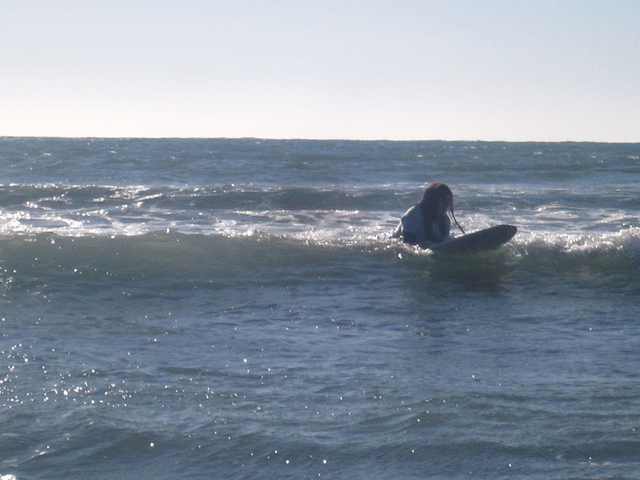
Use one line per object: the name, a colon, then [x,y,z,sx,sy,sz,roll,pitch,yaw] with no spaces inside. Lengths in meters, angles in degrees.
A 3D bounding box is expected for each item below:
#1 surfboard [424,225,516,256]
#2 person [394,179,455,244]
surfboard: [2.230,0.001,18.048,1.268,0.469,0.490,1,5,-31]
person: [1.535,-0.378,17.889,0.715,0.914,0.643,4,4,3]
